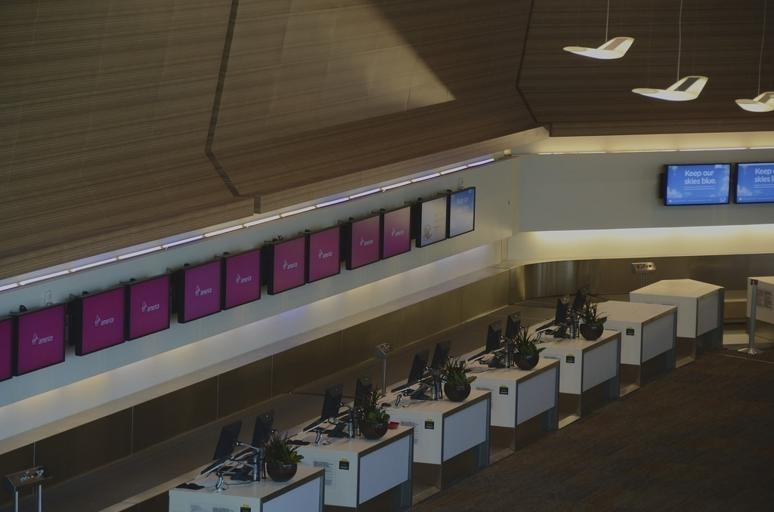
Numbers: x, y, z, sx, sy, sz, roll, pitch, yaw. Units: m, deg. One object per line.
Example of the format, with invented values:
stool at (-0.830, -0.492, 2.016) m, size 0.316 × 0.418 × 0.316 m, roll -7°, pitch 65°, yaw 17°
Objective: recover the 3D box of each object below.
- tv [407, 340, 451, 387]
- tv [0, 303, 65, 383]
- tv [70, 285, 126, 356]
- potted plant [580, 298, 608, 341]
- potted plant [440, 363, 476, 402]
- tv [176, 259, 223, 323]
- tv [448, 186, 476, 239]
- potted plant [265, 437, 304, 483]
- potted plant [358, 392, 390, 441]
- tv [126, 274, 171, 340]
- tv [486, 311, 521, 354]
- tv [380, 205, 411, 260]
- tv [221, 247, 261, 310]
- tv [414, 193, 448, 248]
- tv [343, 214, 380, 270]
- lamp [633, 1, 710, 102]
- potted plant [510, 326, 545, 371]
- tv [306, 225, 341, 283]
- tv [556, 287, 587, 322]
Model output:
tv at (0.532, 1.436, 10.727) m, size 0.550 × 0.530 × 0.543 m, roll -2°, pitch 17°, yaw 5°
tv at (-3.913, 0.925, 9.127) m, size 0.155 × 0.680 × 0.715 m, roll 10°, pitch 21°, yaw 37°
tv at (-3.393, 0.759, 9.654) m, size 0.151 × 0.687 × 0.702 m, roll 9°, pitch 21°, yaw 36°
potted plant at (3.064, 1.045, 12.379) m, size 0.446 × 0.479 × 0.521 m, roll -6°, pitch 0°, yaw 13°
potted plant at (0.895, 1.647, 10.555) m, size 0.524 × 0.459 × 0.416 m, roll -1°, pitch -5°, yaw 7°
tv at (-2.447, 0.444, 10.600) m, size 0.158 × 0.705 × 0.710 m, roll 9°, pitch 21°, yaw 35°
tv at (1.294, -0.805, 14.420) m, size 0.110 × 0.830 × 1.044 m, roll 5°, pitch 7°, yaw 32°
potted plant at (-1.118, 2.234, 8.975) m, size 0.510 × 0.439 × 0.457 m, roll 1°, pitch -2°, yaw 7°
potted plant at (-0.156, 1.922, 9.704) m, size 0.332 × 0.438 × 0.413 m, roll 1°, pitch 17°, yaw 16°
tv at (-2.964, 0.604, 10.030) m, size 0.132 × 0.823 × 0.928 m, roll 2°, pitch 3°, yaw 31°
tv at (1.704, 1.150, 11.977) m, size 0.623 × 0.313 × 0.097 m, roll -19°, pitch 32°, yaw -34°
tv at (0.112, -0.418, 13.185) m, size 0.096 × 0.829 × 0.969 m, roll 7°, pitch 10°, yaw 39°
tv at (-2.003, 0.281, 11.015) m, size 0.136 × 0.768 × 0.940 m, roll 5°, pitch 8°, yaw 37°
tv at (0.715, -0.645, 13.836) m, size 0.136 × 0.812 × 1.016 m, roll 6°, pitch 8°, yaw 35°
tv at (-0.425, -0.255, 12.620) m, size 0.123 × 0.793 × 0.945 m, roll 5°, pitch 9°, yaw 40°
lamp at (4.572, -3.143, 12.800) m, size 0.876 × 1.765 × 4.592 m, roll 3°, pitch 16°, yaw 21°
potted plant at (1.944, 1.381, 11.438) m, size 0.395 × 0.448 × 0.391 m, roll -5°, pitch -5°, yaw 31°
tv at (-0.961, -0.061, 12.051) m, size 0.101 × 0.808 × 0.942 m, roll 2°, pitch 5°, yaw 34°
tv at (2.963, 0.796, 13.152) m, size 0.520 × 0.314 × 0.126 m, roll -24°, pitch 24°, yaw -27°
